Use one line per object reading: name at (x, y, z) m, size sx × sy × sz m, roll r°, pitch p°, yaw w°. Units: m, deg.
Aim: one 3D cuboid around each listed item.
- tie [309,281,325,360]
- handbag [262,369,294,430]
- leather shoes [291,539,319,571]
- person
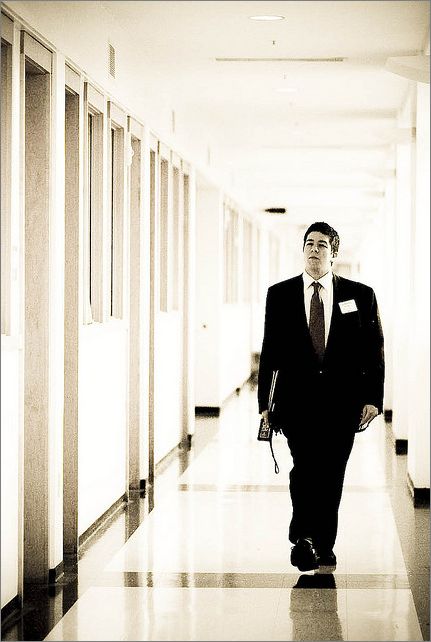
tie at (0.477, 0.006, 3.164) m, size 0.079 × 0.271 × 0.077 m, roll 2°, pitch 1°, yaw 15°
handbag at (0.317, 0.385, 3.211) m, size 0.123 × 0.322 × 0.060 m, roll 10°, pitch 13°, yaw 36°
leather shoes at (0.416, 1.125, 3.158) m, size 0.121 × 0.121 × 0.207 m, roll 3°, pitch 3°, yaw 10°
person at (0.484, 0.372, 3.199) m, size 0.602 × 1.224 × 0.344 m, roll 2°, pitch 1°, yaw 18°
